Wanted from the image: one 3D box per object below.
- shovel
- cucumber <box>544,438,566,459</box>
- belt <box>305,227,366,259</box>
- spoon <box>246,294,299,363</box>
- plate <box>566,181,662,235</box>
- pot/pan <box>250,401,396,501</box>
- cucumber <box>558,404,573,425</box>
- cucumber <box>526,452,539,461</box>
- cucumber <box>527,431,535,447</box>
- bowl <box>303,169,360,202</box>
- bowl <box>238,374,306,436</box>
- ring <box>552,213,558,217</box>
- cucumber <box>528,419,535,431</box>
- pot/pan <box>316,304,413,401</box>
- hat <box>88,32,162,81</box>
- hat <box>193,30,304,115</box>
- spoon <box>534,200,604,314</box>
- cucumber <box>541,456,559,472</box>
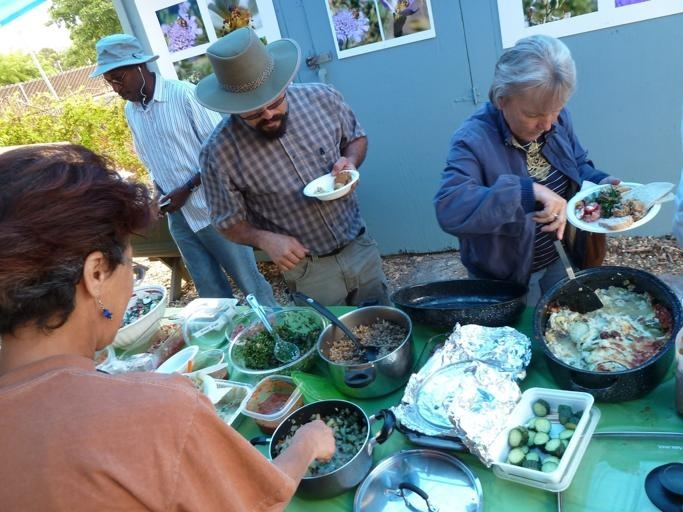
[{"bbox_3d":[1.088,0.060,2.236,0.168,0.416,0.061,-26,3,10],"label":"shovel"},{"bbox_3d":[0.766,0.682,1.624,0.053,0.053,0.059,-4,39,34],"label":"cucumber"},{"bbox_3d":[0.011,-0.064,3.183,0.280,0.071,0.256,-31,7,-38],"label":"belt"},{"bbox_3d":[-0.380,0.355,2.476,0.167,0.079,0.560,-15,46,-22],"label":"spoon"},{"bbox_3d":[1.550,-0.257,2.586,0.487,0.071,0.447,10,-11,-6],"label":"plate"},{"bbox_3d":[-0.021,0.750,1.786,0.552,0.188,0.328,-16,33,8],"label":"pot/pan"},{"bbox_3d":[0.840,0.592,1.712,0.055,0.018,0.056,12,78,17],"label":"cucumber"},{"bbox_3d":[0.685,0.716,1.629,0.043,0.019,0.043,-3,33,19],"label":"cucumber"},{"bbox_3d":[0.704,0.689,1.712,0.037,0.032,0.045,-14,55,56],"label":"cucumber"},{"bbox_3d":[-0.068,-0.455,2.892,0.255,0.071,0.266,-17,35,13],"label":"bowl"},{"bbox_3d":[-0.313,0.701,2.139,0.258,0.102,0.277,-13,20,5],"label":"bowl"},{"bbox_3d":[1.114,-0.221,2.377,0.017,0.013,0.018,-13,31,8],"label":"ring"},{"bbox_3d":[0.719,0.636,1.718,0.028,0.029,0.030,-7,69,-12],"label":"cucumber"},{"bbox_3d":[0.089,0.515,2.086,0.395,0.255,0.677,-4,20,16],"label":"pot/pan"},{"bbox_3d":[-1.781,-1.640,3.756,0.413,0.214,0.465,-4,27,18],"label":"hat"},{"bbox_3d":[-0.537,-0.966,2.716,0.579,0.229,0.555,-10,57,9],"label":"hat"},{"bbox_3d":[1.093,0.065,2.237,0.168,0.416,0.061,-26,3,10],"label":"spoon"},{"bbox_3d":[0.723,0.722,1.580,0.042,0.026,0.041,-13,20,16],"label":"cucumber"}]
